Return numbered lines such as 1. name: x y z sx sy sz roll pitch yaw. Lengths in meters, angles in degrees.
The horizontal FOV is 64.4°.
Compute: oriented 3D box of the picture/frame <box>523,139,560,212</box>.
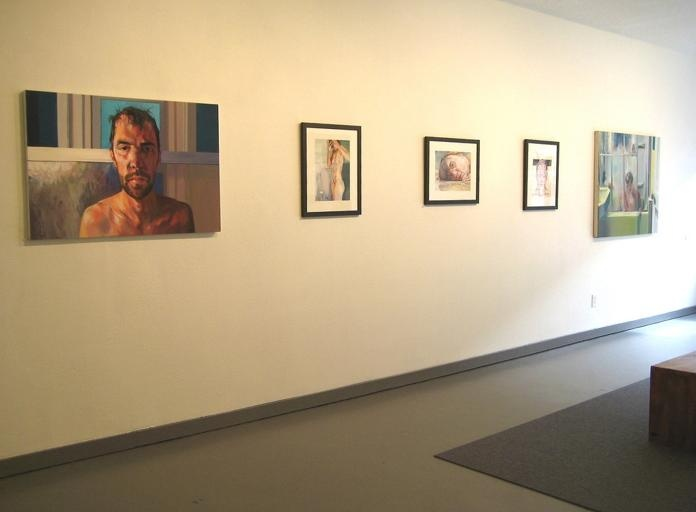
1. picture/frame: 2.178 -0.942 6.310 0.736 0.929 0.065 -6 7 -44
